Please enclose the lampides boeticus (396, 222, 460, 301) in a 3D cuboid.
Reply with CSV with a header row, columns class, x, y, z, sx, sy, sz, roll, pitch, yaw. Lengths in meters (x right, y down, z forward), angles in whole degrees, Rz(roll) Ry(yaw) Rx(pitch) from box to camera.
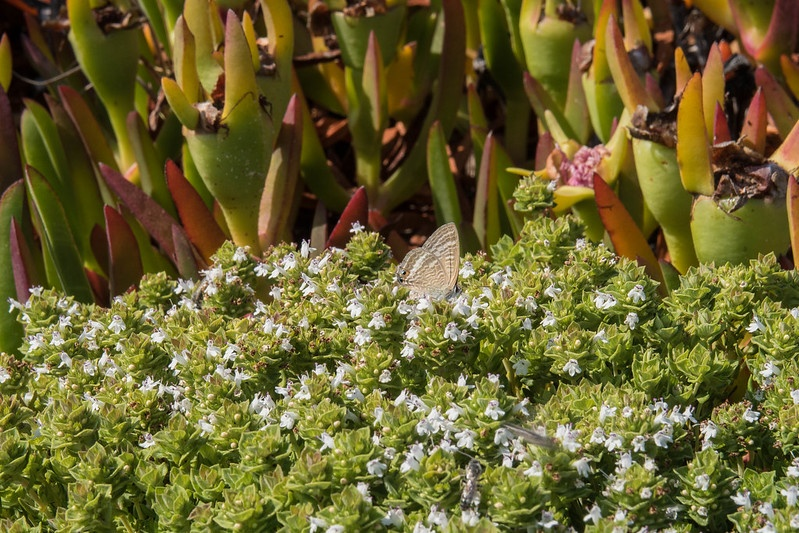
class,x,y,z,sx,sy,sz,roll,pitch,yaw
lampides boeticus,0.111,-0.006,4.548,0.237,0.224,0.259,-6,-1,-17
